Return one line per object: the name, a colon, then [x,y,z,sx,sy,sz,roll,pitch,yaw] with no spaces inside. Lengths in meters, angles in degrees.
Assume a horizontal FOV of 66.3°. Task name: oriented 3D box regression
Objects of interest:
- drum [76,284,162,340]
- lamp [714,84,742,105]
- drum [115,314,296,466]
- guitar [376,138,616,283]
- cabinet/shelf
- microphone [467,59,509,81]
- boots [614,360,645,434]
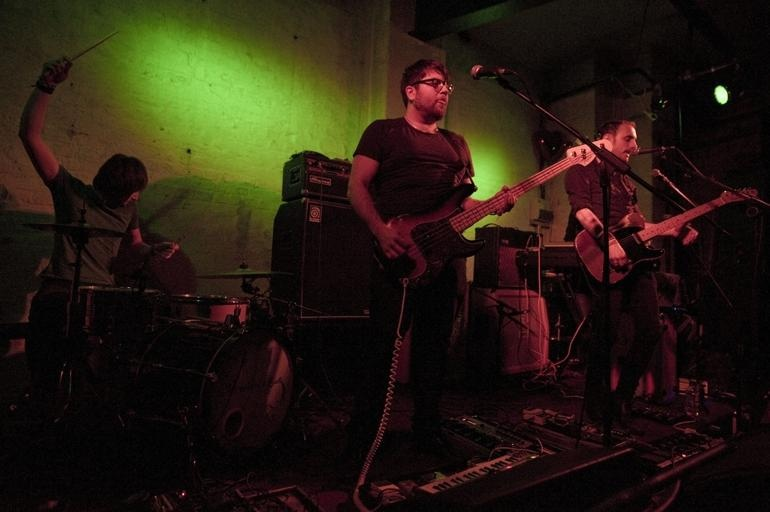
drum: [-2.066,0.423,4.542,0.644,0.451,0.368,5,-9,-38]
lamp: [4.100,-1.962,7.090,0.237,0.226,0.056,19,-11,-19]
drum: [-1.224,0.899,4.758,0.971,1.217,1.201,14,2,31]
guitar: [0.632,-0.261,4.293,1.426,0.782,0.358,-7,16,-27]
cabinet/shelf: [1.244,0.065,5.968,0.636,0.559,0.220,5,-9,-36]
microphone: [0.830,-1.428,4.554,0.271,0.137,0.816,3,15,11]
boots: [1.940,1.079,4.850,0.214,0.677,0.270,4,-9,40]
